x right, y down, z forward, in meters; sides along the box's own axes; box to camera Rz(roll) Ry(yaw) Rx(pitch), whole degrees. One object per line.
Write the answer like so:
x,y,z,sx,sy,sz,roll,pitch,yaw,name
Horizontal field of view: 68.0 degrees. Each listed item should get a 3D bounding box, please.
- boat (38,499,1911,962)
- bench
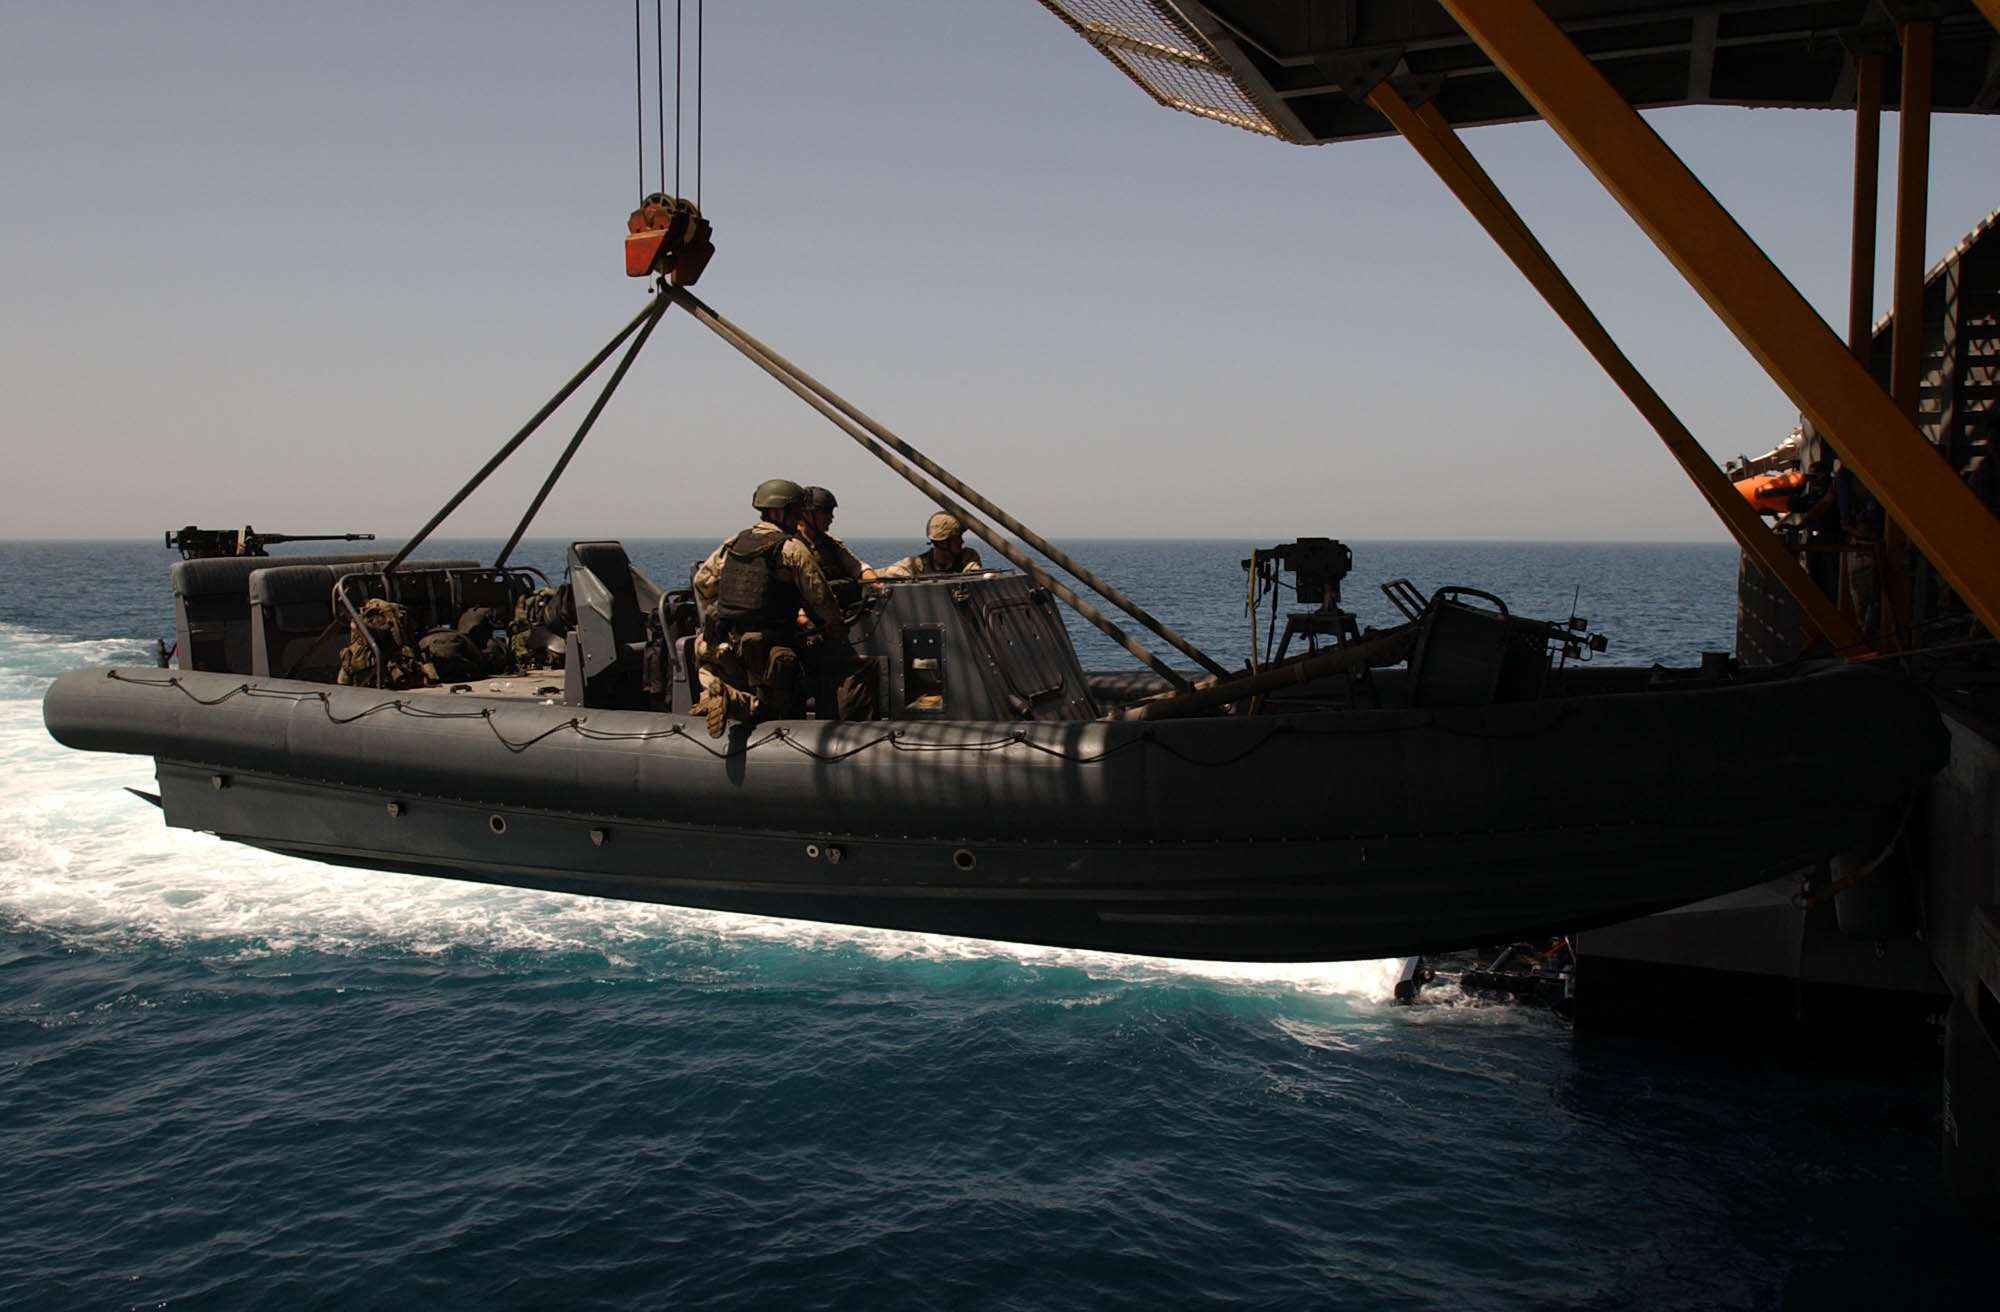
-0.876,0.830,12.245,12.201,2.197,5.208,1,0,14,boat
-5.236,-0.280,13.903,1.958,0.565,1.253,1,21,0,bench
